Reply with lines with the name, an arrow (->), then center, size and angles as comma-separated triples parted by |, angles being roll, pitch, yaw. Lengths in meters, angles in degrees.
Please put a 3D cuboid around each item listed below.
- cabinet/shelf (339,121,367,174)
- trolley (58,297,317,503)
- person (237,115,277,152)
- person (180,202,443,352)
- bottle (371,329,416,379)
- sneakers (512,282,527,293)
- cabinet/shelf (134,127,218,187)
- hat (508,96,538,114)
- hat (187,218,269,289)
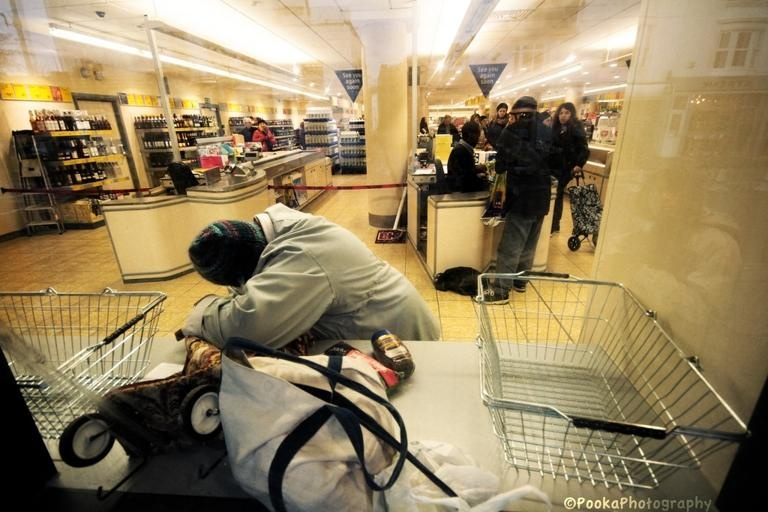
cabinet/shelf -> -0.816, -2.921, 12.389 | 0.870, 1.414, 0.637 | 6, 20, 22
trolley -> -0.830, 0.568, 1.822 | 0.703, 0.255, 0.433 | -13, 22, -36
person -> -2.629, -2.512, 9.556 | 0.518, 0.676, 1.476 | -5, 18, -9
person -> -0.348, 0.226, 2.500 | 1.143, 0.776, 0.767 | 7, 20, -3
bottle -> 0.041, 0.436, 2.058 | 0.128, 0.073, 0.232 | -19, 40, -16
sneakers -> 1.250, 0.297, 4.332 | 0.134, 0.094, 0.103 | 2, -3, -32
cabinet/shelf -> -4.585, -2.158, 9.884 | 1.116, 1.190, 0.931 | -10, 20, -23
hat -> 1.189, -1.292, 3.922 | 0.183, 0.139, 0.152 | 14, 24, 40
hat -> -0.857, 0.034, 2.426 | 0.390, 0.275, 0.309 | -24, 2, 45
